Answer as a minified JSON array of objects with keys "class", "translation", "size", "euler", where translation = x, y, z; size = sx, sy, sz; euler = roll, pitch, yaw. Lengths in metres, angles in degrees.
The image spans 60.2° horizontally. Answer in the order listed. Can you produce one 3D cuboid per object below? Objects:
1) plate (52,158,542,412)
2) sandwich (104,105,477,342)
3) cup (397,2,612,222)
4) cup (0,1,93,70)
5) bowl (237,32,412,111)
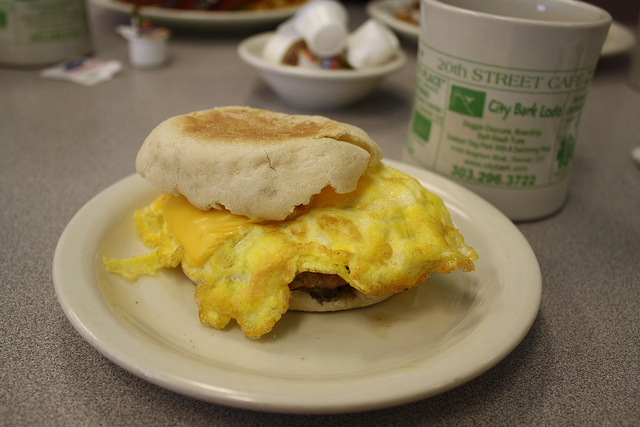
[{"class":"plate","translation":[-0.037,-0.012,1.275],"size":[0.837,0.108,0.812],"euler":[4,20,-6]},{"class":"sandwich","translation":[-0.047,0.025,1.026],"size":[0.532,0.177,0.511],"euler":[-8,39,-18]},{"class":"cup","translation":[0.366,-0.309,1.414],"size":[0.575,0.443,0.430],"euler":[8,34,8]},{"class":"cup","translation":[-0.724,-0.488,1.555],"size":[0.208,0.177,0.202],"euler":[4,29,-2]},{"class":"bowl","translation":[0.017,-0.429,1.818],"size":[0.504,0.181,0.513],"euler":[-2,21,1]}]
